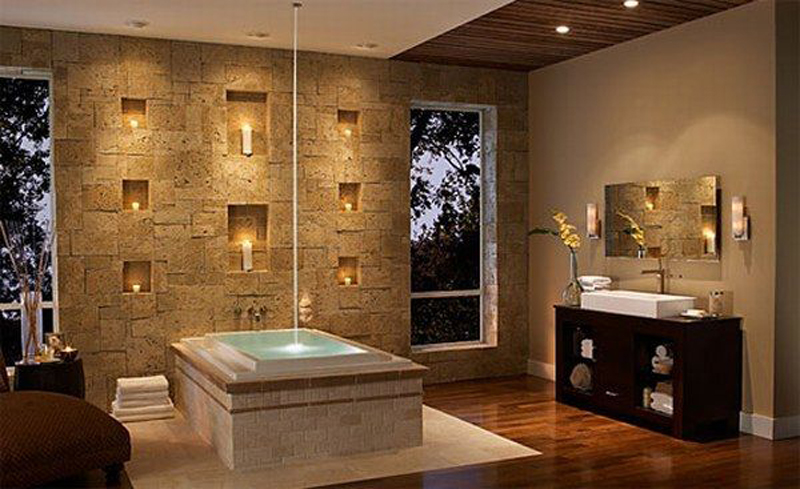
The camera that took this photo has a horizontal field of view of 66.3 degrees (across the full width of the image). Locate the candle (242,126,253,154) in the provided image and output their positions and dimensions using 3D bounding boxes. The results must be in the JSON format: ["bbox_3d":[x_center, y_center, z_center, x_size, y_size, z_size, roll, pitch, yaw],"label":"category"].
[{"bbox_3d":[-1.713,-1.170,6.866,0.117,0.354,0.208,-2,6,-13],"label":"candle"}]

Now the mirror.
[{"bbox_3d":[2.591,-0.254,6.260,1.404,0.795,0.156,-1,-1,-14],"label":"mirror"}]

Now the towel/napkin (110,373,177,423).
[{"bbox_3d":[-2.531,1.468,6.061,0.563,0.336,0.438,1,-3,-26],"label":"towel/napkin"}]

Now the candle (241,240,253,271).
[{"bbox_3d":[-1.714,0.125,6.877,0.122,0.334,0.174,-2,6,-12],"label":"candle"}]

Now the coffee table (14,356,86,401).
[{"bbox_3d":[-3.198,1.218,5.606,0.493,0.279,0.481,2,-4,-35],"label":"coffee table"}]

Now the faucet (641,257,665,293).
[{"bbox_3d":[2.601,0.313,6.236,0.220,0.356,0.350,2,6,23],"label":"faucet"}]

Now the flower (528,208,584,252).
[{"bbox_3d":[1.902,-0.156,7.091,0.534,0.221,0.522,-11,25,-36],"label":"flower"}]

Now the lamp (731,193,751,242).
[{"bbox_3d":[3.177,-0.236,5.688,0.088,0.420,0.147,-4,7,-32],"label":"lamp"}]

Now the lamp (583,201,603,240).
[{"bbox_3d":[2.187,-0.260,6.929,0.116,0.407,0.208,-3,6,-28],"label":"lamp"}]

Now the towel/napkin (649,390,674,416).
[{"bbox_3d":[2.478,1.491,5.757,0.068,0.187,0.285,-3,6,-23],"label":"towel/napkin"}]
